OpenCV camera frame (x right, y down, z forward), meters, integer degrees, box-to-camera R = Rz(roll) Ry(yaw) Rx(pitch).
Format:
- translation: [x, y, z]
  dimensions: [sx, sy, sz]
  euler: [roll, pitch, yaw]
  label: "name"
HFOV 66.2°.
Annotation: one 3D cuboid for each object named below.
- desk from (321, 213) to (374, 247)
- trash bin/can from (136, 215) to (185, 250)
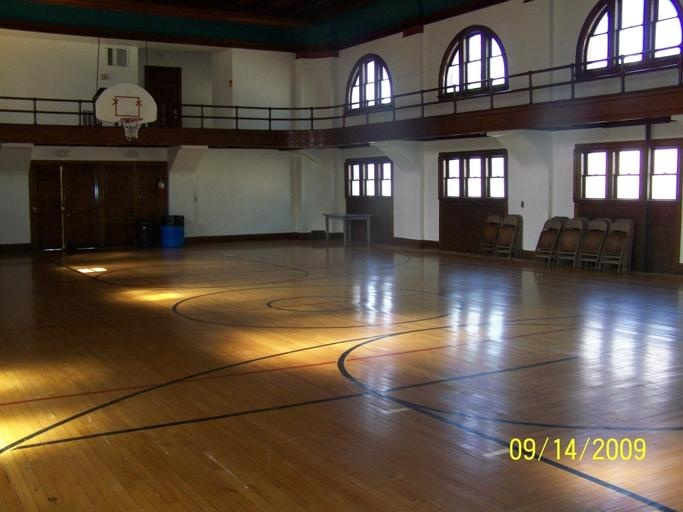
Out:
- translation: [0.220, -1.266, 20.483]
  dimensions: [1.304, 1.268, 2.064]
  euler: [-2, 4, -26]
  label: "desk"
- translation: [-6.835, -0.948, 19.841]
  dimensions: [1.672, 1.184, 1.041]
  euler: [0, 8, 7]
  label: "trash bin/can"
